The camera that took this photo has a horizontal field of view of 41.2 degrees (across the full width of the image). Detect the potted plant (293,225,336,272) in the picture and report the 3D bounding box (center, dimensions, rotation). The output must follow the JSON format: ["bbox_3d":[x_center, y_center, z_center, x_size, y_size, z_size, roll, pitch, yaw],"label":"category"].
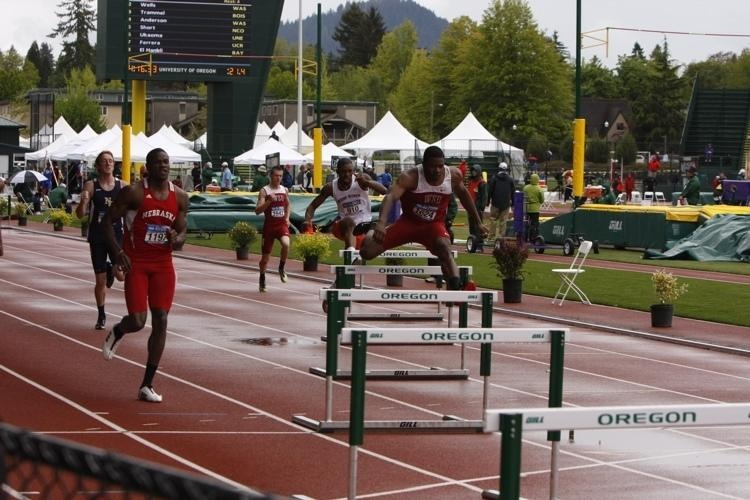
[{"bbox_3d":[-1.496,-0.035,24.425,0.712,1.204,0.818,-1,1,-12],"label":"potted plant"}]

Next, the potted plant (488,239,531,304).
[{"bbox_3d":[2.703,0.388,19.654,0.745,1.425,0.657,2,-1,44],"label":"potted plant"}]

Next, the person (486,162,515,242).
[{"bbox_3d":[3.625,-1.441,29.249,0.778,2.138,0.610,4,6,-1],"label":"person"}]

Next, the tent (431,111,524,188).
[{"bbox_3d":[7.069,-8.774,65.296,6.494,4.546,6.593,2,1,8],"label":"tent"}]

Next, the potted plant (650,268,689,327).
[{"bbox_3d":[5.458,0.921,18.671,0.928,1.169,0.761,2,-1,-5],"label":"potted plant"}]

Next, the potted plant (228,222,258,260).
[{"bbox_3d":[-3.712,-0.271,27.544,0.956,1.092,0.958,3,1,-22],"label":"potted plant"}]

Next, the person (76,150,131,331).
[{"bbox_3d":[-4.136,-0.140,15.237,0.901,2.654,1.329,-1,-2,21],"label":"person"}]

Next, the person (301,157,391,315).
[{"bbox_3d":[-0.524,-0.280,17.436,1.091,2.605,1.344,0,1,8],"label":"person"}]

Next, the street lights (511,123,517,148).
[{"bbox_3d":[12.962,-11.490,93.640,0.549,0.535,0.269,0,4,28],"label":"street lights"}]

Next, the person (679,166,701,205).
[{"bbox_3d":[10.292,-2.104,32.685,0.592,1.247,2.372,5,7,17],"label":"person"}]
